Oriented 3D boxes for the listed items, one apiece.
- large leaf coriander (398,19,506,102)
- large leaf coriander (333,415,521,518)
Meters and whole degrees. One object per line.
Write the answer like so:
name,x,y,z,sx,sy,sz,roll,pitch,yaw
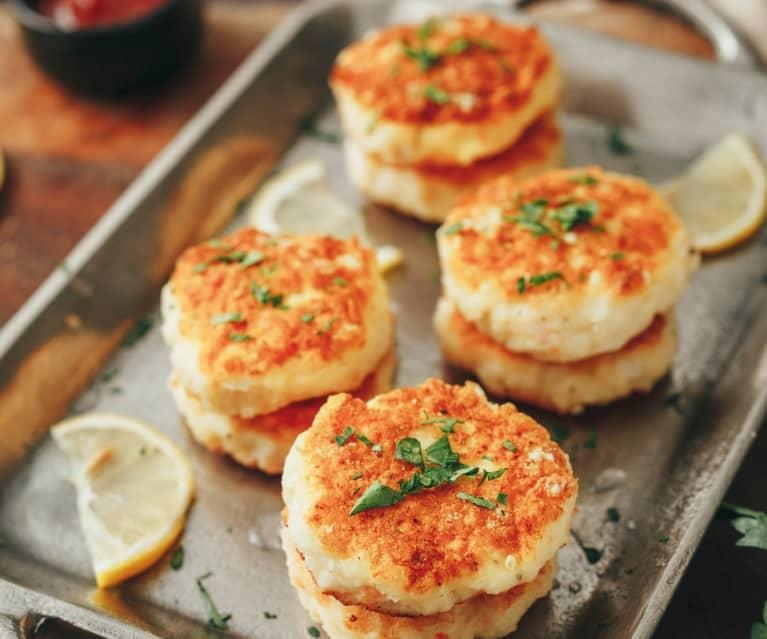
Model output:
large leaf coriander,0.221,-0.969,3.437,0.403,0.080,0.289,-6,56,-3
large leaf coriander,0.125,0.406,2.727,0.520,0.092,0.293,-3,62,1
